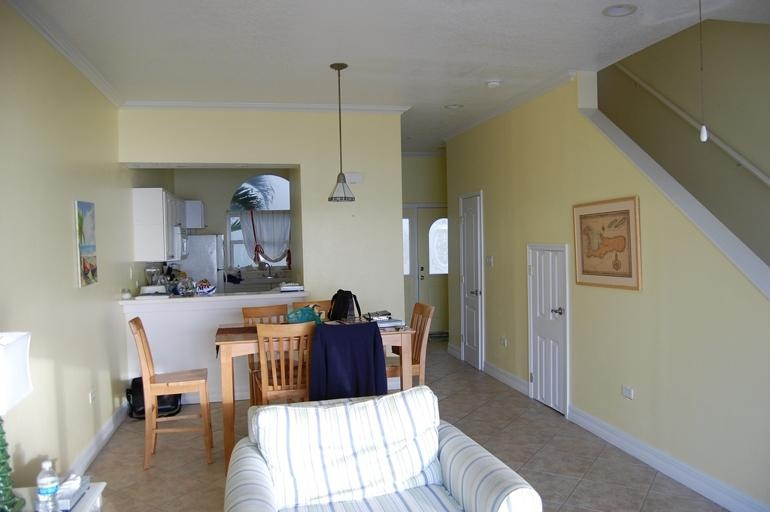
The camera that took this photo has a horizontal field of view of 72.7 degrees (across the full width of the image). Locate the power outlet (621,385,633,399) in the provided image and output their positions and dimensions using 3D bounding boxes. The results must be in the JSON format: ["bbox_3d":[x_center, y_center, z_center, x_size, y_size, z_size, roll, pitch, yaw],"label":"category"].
[{"bbox_3d":[2.355,1.332,5.089,0.018,0.127,0.131,-6,10,-29],"label":"power outlet"}]

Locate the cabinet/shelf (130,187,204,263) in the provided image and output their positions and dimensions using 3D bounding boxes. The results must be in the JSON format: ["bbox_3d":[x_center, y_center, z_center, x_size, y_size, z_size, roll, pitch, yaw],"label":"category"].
[{"bbox_3d":[-3.051,-0.399,7.325,0.403,0.651,1.353,-1,2,-6],"label":"cabinet/shelf"}]

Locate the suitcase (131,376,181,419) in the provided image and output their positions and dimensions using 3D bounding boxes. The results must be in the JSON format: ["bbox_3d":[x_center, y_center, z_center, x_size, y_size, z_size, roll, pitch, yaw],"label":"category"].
[{"bbox_3d":[-2.674,1.668,6.206,0.429,0.578,0.528,1,8,-3],"label":"suitcase"}]

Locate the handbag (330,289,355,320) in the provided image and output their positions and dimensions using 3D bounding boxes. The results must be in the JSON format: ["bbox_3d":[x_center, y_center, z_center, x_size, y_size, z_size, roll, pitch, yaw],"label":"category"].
[{"bbox_3d":[-0.429,0.506,5.304,0.268,0.308,0.174,4,1,14],"label":"handbag"}]

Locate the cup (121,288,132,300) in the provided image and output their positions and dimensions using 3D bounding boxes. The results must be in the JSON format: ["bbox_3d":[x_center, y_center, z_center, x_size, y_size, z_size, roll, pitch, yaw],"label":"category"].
[{"bbox_3d":[-3.013,0.458,6.125,0.102,0.102,0.102,3,-2,0],"label":"cup"}]

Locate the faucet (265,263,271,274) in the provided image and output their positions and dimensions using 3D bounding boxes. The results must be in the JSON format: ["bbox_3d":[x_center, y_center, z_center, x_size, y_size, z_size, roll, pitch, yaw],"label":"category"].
[{"bbox_3d":[-2.292,0.254,10.326,0.128,0.167,0.173,1,7,3],"label":"faucet"}]

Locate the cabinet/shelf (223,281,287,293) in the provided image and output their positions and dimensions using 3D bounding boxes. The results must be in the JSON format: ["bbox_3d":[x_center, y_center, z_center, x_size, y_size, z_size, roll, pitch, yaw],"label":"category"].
[{"bbox_3d":[-2.514,0.578,9.989,1.084,0.214,0.249,-6,10,-34],"label":"cabinet/shelf"}]
